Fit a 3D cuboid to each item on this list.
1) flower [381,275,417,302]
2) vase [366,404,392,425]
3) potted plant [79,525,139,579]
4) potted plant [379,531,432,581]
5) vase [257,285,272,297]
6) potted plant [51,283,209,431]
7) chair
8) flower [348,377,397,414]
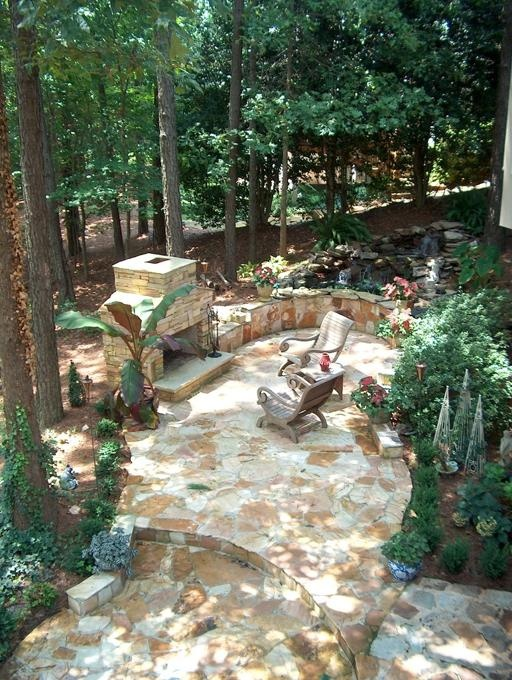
[{"bbox_3d":[3.043,-1.098,11.158,0.673,0.446,0.667,-25,29,-36],"label":"flower"},{"bbox_3d":[1.774,1.084,7.580,0.309,0.212,0.320,-12,13,-42],"label":"vase"},{"bbox_3d":[-1.435,2.054,5.127,0.484,0.253,0.445,3,30,-21],"label":"potted plant"},{"bbox_3d":[1.413,2.031,4.977,0.370,0.355,0.325,-11,20,-27],"label":"potted plant"},{"bbox_3d":[0.196,-1.120,11.756,0.326,0.314,0.290,-1,18,2],"label":"vase"},{"bbox_3d":[-1.724,0.148,8.070,2.249,1.813,1.796,20,24,32],"label":"potted plant"},{"bbox_3d":[0.824,0.657,8.984,1.052,0.645,2.105,21,28,19],"label":"chair"},{"bbox_3d":[1.693,0.823,7.631,0.457,0.570,0.589,-8,19,-18],"label":"flower"}]
